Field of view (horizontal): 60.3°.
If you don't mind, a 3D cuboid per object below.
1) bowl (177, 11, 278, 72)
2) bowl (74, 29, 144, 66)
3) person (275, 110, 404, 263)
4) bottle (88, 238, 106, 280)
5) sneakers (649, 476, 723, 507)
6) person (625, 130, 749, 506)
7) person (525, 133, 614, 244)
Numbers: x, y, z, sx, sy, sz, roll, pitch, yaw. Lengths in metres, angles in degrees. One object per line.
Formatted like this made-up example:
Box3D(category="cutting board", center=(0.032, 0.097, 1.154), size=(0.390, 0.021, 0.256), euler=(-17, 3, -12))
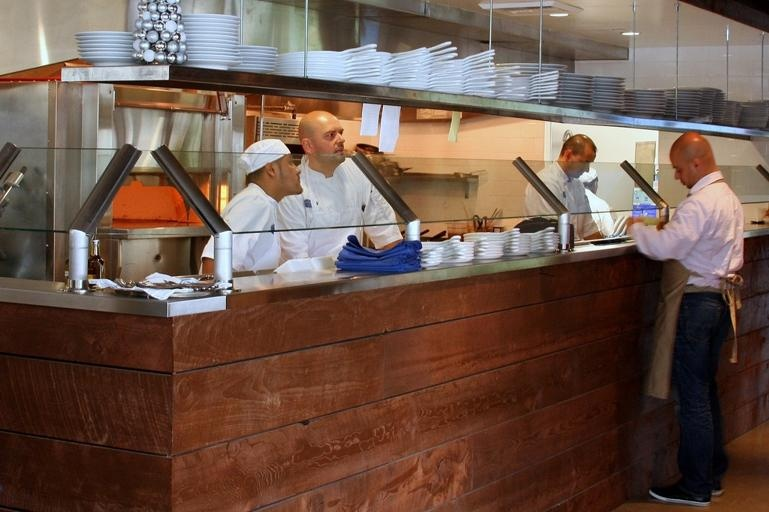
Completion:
Box3D(category="bowl", center=(-0.684, -0.883, 2.919), size=(0.256, 0.141, 0.392), euler=(3, 2, 37))
Box3D(category="bowl", center=(-1.183, -0.870, 2.837), size=(0.193, 0.079, 0.184), euler=(0, 2, 0))
Box3D(category="person", center=(-0.241, -0.263, 3.292), size=(0.603, 0.810, 0.503), euler=(-14, 31, -16))
Box3D(category="bottle", center=(-1.197, 0.011, 2.720), size=(0.063, 0.155, 0.111), euler=(-4, 9, -17))
Box3D(category="sneakers", center=(1.999, 1.547, 4.398), size=(0.481, 0.179, 0.175), euler=(2, -2, 19))
Box3D(category="person", center=(1.973, 0.401, 4.331), size=(0.710, 2.381, 0.512), euler=(-9, 12, -43))
Box3D(category="person", center=(1.137, -0.364, 4.048), size=(0.557, 0.702, 0.574), euler=(11, 13, 22))
